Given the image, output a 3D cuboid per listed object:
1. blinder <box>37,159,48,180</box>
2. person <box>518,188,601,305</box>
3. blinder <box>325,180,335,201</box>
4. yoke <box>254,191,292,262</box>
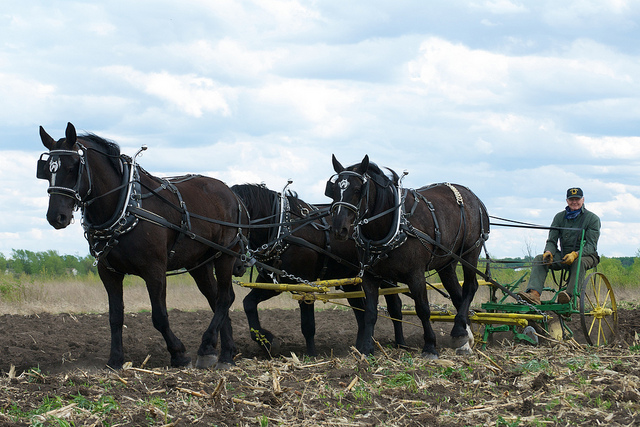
[{"bbox_3d":[-3.701,-0.577,11.948,0.126,0.251,0.260,-1,4,-18],"label":"blinder"},{"bbox_3d":[3.910,0.535,14.517,1.115,1.823,1.391,1,4,17],"label":"person"},{"bbox_3d":[0.129,-0.327,12.829,0.126,0.240,0.221,0,4,0],"label":"blinder"},{"bbox_3d":[-0.713,0.246,13.698,0.558,1.051,0.533,0,4,-4],"label":"yoke"}]
